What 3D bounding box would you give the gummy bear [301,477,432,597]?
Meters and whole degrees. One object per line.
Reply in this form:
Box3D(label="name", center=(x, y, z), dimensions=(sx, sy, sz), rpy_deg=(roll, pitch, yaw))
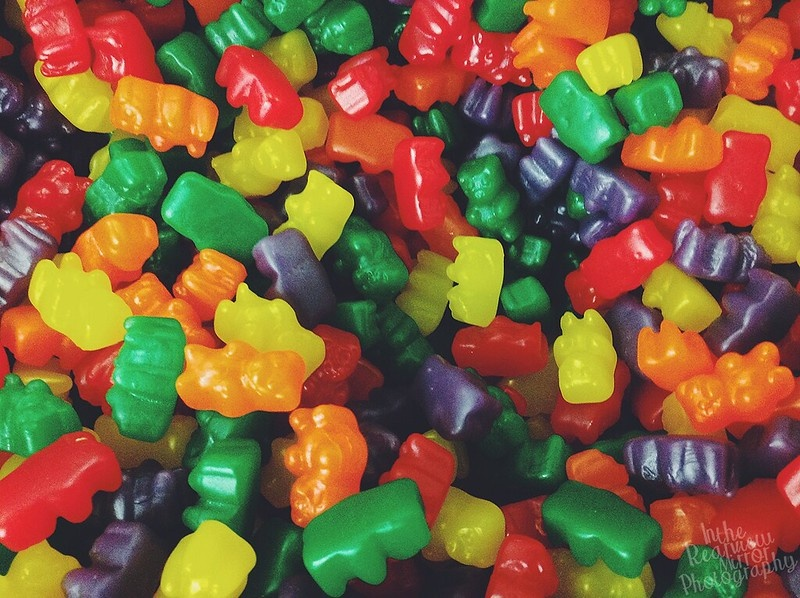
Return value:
Box3D(label="gummy bear", center=(-0.054, 0.377, 1.711), dimensions=(0.202, 0.101, 0.130), rpy_deg=(-25, 66, -14))
